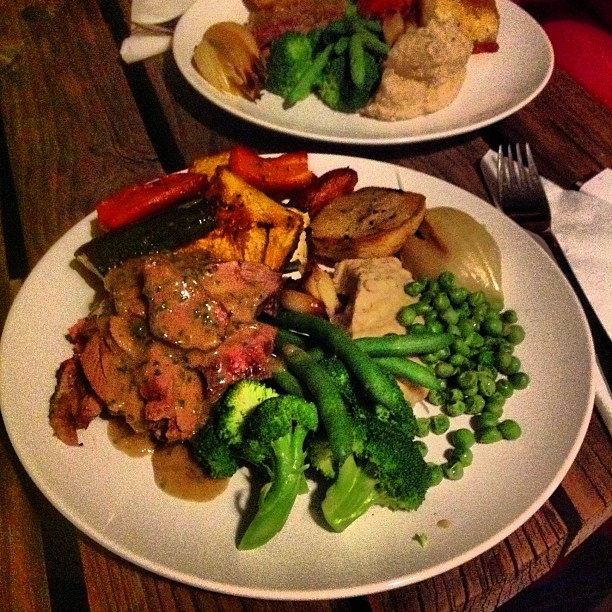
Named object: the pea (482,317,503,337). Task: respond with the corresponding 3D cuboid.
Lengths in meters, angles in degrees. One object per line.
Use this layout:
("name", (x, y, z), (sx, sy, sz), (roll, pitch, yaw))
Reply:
("pea", (0.779, 0.089, 2.623), (0.084, 0.064, 0.062), (1, 94, 40))

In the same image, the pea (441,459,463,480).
("pea", (0.545, 0.607, 2.336), (0.076, 0.066, 0.064), (-11, 39, -6))

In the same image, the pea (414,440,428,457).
("pea", (0.425, 0.530, 2.340), (0.031, 0.054, 0.055), (-37, 57, -19))

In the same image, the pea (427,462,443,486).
("pea", (0.468, 0.625, 2.357), (0.068, 0.077, 0.041), (1, 102, -18))

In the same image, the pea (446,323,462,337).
("pea", (0.624, 0.097, 2.649), (0.051, 0.022, 0.059), (-1, 57, -3))

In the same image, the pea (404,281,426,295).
("pea", (0.461, -0.077, 2.681), (0.079, 0.028, 0.045), (-16, 39, -41))

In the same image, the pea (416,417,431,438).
("pea", (0.453, 0.462, 2.436), (0.063, 0.077, 0.034), (-11, 55, -8))

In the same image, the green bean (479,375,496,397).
("green bean", (0.718, 0.319, 2.525), (0.064, 0.030, 0.079), (-7, 76, -19))

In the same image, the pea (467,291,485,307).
("pea", (0.722, -0.029, 2.680), (0.057, 0.069, 0.037), (41, 35, -21))

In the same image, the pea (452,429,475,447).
("pea", (0.608, 0.496, 2.395), (0.067, 0.037, 0.066), (-15, 43, 0))

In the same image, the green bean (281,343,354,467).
("green bean", (0.097, 0.356, 2.275), (0.300, 0.335, 0.307), (-3, 30, 2))

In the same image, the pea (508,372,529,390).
("pea", (0.854, 0.297, 2.524), (0.078, 0.056, 0.054), (0, 85, 27))

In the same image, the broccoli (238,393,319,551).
("broccoli", (-0.131, 0.568, 2.181), (0.237, 0.183, 0.540), (14, 68, 7))

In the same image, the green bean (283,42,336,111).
("green bean", (0.022, -1.165, 3.230), (0.496, 0.071, 0.116), (-44, 91, 7))

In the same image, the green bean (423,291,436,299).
("green bean", (0.521, -0.053, 2.698), (0.033, 0.033, 0.010), (48, 36, -18))

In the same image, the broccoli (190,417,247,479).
("broccoli", (-0.322, 0.524, 2.373), (0.242, 0.191, 0.210), (-8, 35, -9))

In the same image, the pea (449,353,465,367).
("pea", (0.616, 0.219, 2.566), (0.046, 0.057, 0.042), (-7, 91, 3))

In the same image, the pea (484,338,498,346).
("pea", (0.775, 0.149, 2.637), (0.040, 0.010, 0.025), (-32, 85, 10))

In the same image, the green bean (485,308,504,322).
("green bean", (0.803, 0.034, 2.666), (0.051, 0.032, 0.061), (22, 28, 39))

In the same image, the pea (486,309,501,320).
("pea", (0.795, 0.034, 2.667), (0.047, 0.024, 0.044), (28, 53, 13))

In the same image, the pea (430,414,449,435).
("pea", (0.519, 0.459, 2.451), (0.075, 0.039, 0.067), (-9, 73, -4))

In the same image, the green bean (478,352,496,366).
("green bean", (0.741, 0.217, 2.579), (0.051, 0.031, 0.057), (-7, 35, -9))

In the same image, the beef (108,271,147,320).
("beef", (-0.693, -0.041, 2.453), (0.188, 0.042, 0.163), (4, 67, 8))

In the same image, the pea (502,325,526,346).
("pea", (0.864, 0.120, 2.621), (0.089, 0.065, 0.064), (2, 97, 12))

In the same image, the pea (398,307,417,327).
("pea", (0.417, 0.045, 2.588), (0.062, 0.075, 0.035), (-13, 45, -17))

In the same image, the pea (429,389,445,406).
("pea", (0.516, 0.359, 2.480), (0.057, 0.035, 0.058), (-2, 84, -8))

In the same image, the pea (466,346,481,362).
("pea", (0.703, 0.200, 2.631), (0.059, 0.058, 0.030), (-28, 109, -32))

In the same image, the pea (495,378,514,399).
("pea", (0.793, 0.329, 2.522), (0.072, 0.042, 0.067), (-22, 73, 6))

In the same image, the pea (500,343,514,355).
("pea", (0.832, 0.172, 2.607), (0.054, 0.024, 0.048), (2, 41, 7))

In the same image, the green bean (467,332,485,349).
("green bean", (0.714, 0.143, 2.639), (0.064, 0.032, 0.058), (-15, 66, -4))

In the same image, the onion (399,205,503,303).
("onion", (0.766, -0.261, 2.920), (0.170, 0.442, 0.538), (-43, 77, -6))

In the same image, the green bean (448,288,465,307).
("green bean", (0.637, -0.040, 2.672), (0.068, 0.044, 0.074), (-15, 95, 3))

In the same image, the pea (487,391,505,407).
("pea", (0.756, 0.365, 2.496), (0.051, 0.026, 0.050), (-15, 27, -30))

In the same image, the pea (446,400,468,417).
("pea", (0.599, 0.401, 2.467), (0.067, 0.035, 0.065), (-13, 73, 0))
